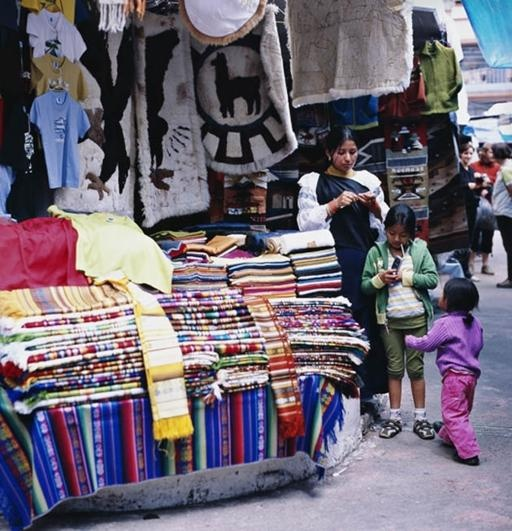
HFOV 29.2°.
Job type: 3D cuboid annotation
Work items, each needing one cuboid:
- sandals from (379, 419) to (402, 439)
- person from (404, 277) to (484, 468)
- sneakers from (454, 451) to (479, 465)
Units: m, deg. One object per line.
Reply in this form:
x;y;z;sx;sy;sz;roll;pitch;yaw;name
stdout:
0.765;0.953;5.644;0.061;0.076;0.177;-3;-4;27;sandals
1.126;0.549;5.398;0.385;0.923;0.512;-9;14;-37;person
1.116;1.029;5.222;0.049;0.057;0.122;0;-5;-35;sneakers
